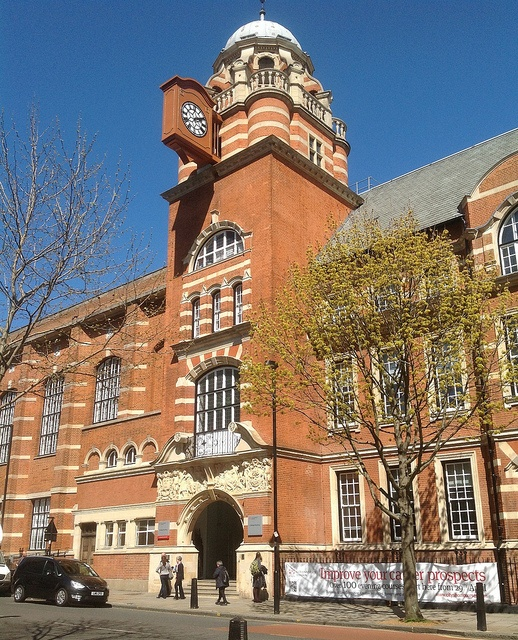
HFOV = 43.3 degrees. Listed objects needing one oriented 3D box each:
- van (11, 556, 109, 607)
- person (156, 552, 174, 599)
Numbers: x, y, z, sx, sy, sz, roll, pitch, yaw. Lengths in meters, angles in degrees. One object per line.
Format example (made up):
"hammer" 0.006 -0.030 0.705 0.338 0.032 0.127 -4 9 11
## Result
"van" -5.853 7.848 19.510 2.707 1.130 1.530 -23 -37 31
"person" -3.312 9.068 23.112 0.507 1.433 1.611 0 -22 -8
